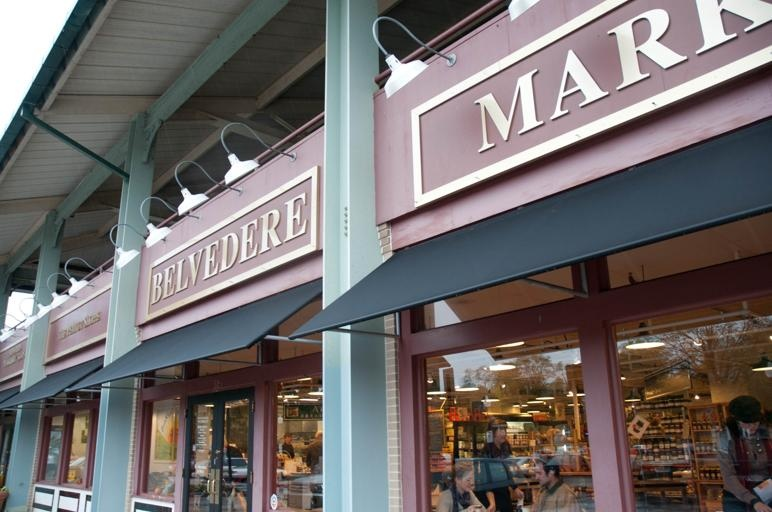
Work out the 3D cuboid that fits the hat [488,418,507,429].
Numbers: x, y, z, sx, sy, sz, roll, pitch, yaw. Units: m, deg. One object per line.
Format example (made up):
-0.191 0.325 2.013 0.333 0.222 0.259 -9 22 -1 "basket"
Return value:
1.312 1.965 6.913 0.138 0.104 0.140 1 -8 -9 "hat"
